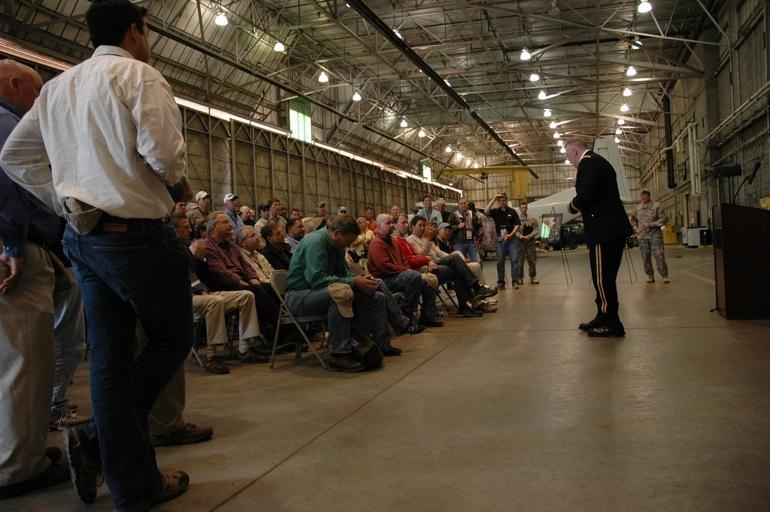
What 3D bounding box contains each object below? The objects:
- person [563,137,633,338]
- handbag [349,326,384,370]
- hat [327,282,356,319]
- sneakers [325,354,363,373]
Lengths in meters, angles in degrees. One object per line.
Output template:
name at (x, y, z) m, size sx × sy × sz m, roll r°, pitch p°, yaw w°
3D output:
person at (2.588, -0.257, 6.558) m, size 0.716 × 2.339 × 0.736 m, roll -1°, pitch 4°, yaw 19°
handbag at (-0.184, 0.945, 5.528) m, size 0.317 × 0.387 × 0.209 m, roll -2°, pitch 4°, yaw 2°
hat at (-0.453, 0.446, 5.582) m, size 0.232 × 0.353 × 0.142 m, roll -19°, pitch -2°, yaw -35°
sneakers at (-0.413, 1.094, 5.549) m, size 0.333 × 0.151 × 0.155 m, roll 0°, pitch -3°, yaw 10°
